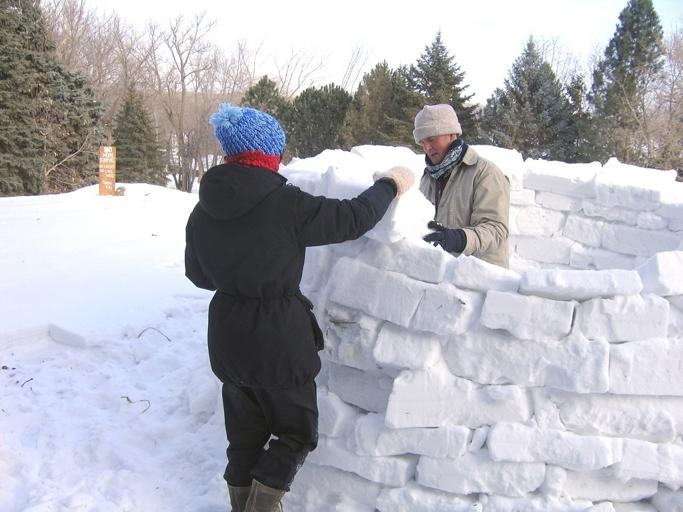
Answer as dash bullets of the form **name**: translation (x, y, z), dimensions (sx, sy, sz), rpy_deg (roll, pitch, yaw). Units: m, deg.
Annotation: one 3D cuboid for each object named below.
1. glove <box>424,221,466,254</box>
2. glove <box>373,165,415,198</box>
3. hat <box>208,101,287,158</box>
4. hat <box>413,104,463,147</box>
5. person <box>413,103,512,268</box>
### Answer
- **glove**: translation (0.661, -0.111, 4.080), dimensions (0.366, 0.193, 0.101), rpy_deg (0, 11, -40)
- **glove**: translation (0.334, -0.449, 3.843), dimensions (0.205, 0.107, 0.158), rpy_deg (-8, 11, -44)
- **hat**: translation (-0.560, -0.751, 3.921), dimensions (0.370, 0.402, 0.502), rpy_deg (-11, 19, -23)
- **hat**: translation (0.703, -0.967, 4.711), dimensions (0.355, 0.320, 0.387), rpy_deg (-3, -7, -7)
- **person**: translation (0.756, -0.506, 4.403), dimensions (0.776, 1.073, 0.861), rpy_deg (12, 11, 29)
